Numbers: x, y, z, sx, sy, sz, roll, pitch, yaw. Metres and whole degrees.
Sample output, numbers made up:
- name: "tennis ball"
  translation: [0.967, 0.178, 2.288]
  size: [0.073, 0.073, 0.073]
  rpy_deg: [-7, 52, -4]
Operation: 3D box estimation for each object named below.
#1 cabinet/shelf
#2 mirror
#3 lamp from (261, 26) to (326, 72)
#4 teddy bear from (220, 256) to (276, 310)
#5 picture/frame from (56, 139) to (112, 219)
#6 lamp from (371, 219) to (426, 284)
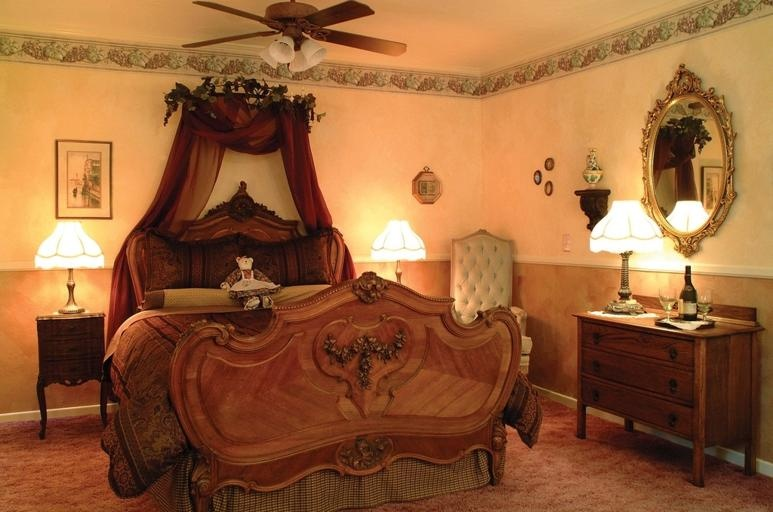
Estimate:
- name: "cabinet/shelf"
  translation: [2.400, 1.079, 5.182]
  size: [0.779, 1.265, 1.344]
  rpy_deg: [-1, 2, -28]
- name: "mirror"
  translation: [2.653, -0.852, 5.194]
  size: [0.270, 1.667, 0.819]
  rpy_deg: [-5, 11, -26]
- name: "lamp"
  translation: [-0.720, -1.623, 4.549]
  size: [0.545, 0.268, 0.509]
  rpy_deg: [1, 11, 26]
- name: "teddy bear"
  translation: [-1.290, 0.238, 5.555]
  size: [0.518, 0.187, 0.599]
  rpy_deg: [-6, 44, -32]
- name: "picture/frame"
  translation: [-3.005, -0.763, 5.850]
  size: [0.503, 0.764, 0.195]
  rpy_deg: [-1, 10, -6]
- name: "lamp"
  translation: [0.128, -0.044, 6.613]
  size: [0.687, 0.870, 0.662]
  rpy_deg: [0, -3, -2]
